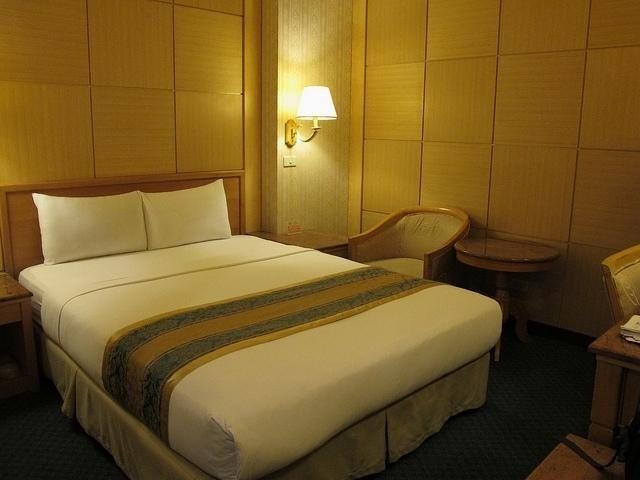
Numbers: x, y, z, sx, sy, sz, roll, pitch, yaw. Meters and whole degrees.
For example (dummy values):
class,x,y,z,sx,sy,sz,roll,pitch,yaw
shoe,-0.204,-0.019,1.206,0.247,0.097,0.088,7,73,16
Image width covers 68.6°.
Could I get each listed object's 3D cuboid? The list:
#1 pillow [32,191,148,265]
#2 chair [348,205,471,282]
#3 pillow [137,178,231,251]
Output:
class,x,y,z,sx,sy,sz,roll,pitch,yaw
pillow,-1.877,-0.081,3.741,0.581,0.386,0.196,-6,8,-40
chair,0.889,-0.015,4.670,0.796,0.972,0.883,14,17,40
pillow,-1.255,-0.214,4.222,0.652,0.429,0.151,-8,0,-41
